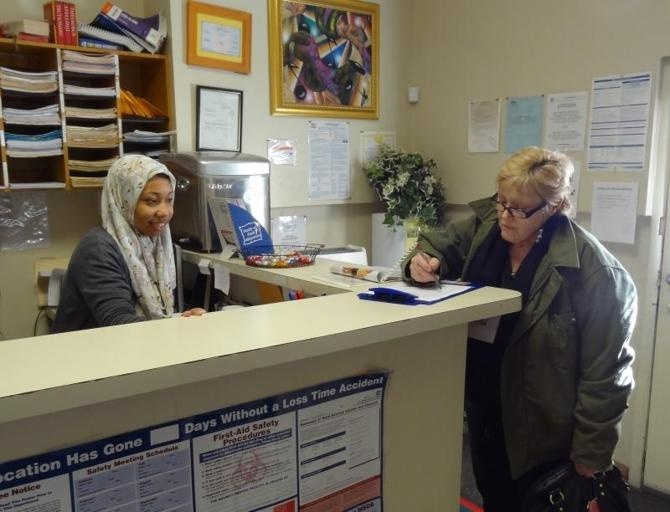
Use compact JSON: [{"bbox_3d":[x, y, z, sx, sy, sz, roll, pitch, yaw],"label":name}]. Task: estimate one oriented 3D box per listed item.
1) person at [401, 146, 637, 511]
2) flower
[{"bbox_3d":[0.708,0.331,1.895,0.719,1.445,0.357,9,15,41],"label":"person"},{"bbox_3d":[0.483,-0.549,3.827,0.522,0.757,0.603,-4,1,-11],"label":"flower"}]
